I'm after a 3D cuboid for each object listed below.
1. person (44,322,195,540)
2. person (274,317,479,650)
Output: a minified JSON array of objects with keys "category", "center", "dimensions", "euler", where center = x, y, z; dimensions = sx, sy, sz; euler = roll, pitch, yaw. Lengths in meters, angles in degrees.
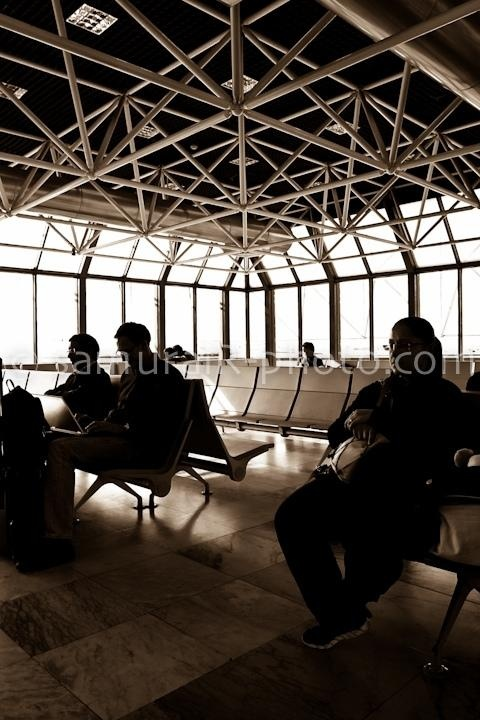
[{"category":"person","center":[-0.805,0.362,3.361],"dimensions":[0.897,1.229,0.742],"euler":[-1,-1,-29]},{"category":"person","center":[0.517,0.420,1.978],"dimensions":[0.629,1.169,0.549],"euler":[-2,-1,32]}]
